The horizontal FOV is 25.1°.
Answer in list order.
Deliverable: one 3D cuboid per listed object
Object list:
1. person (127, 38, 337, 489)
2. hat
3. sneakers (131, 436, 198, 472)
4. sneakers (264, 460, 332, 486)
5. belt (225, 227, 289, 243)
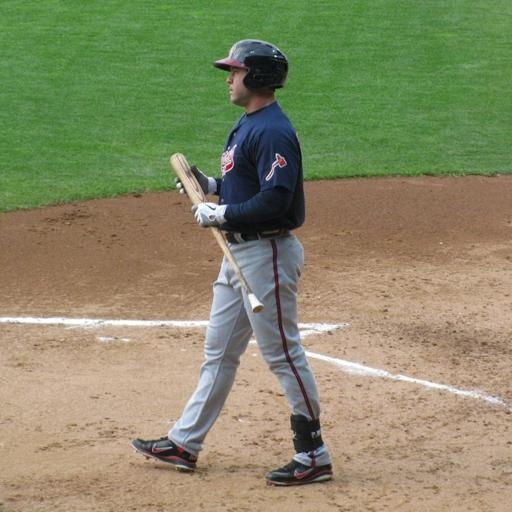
[{"bbox_3d":[-0.061,0.033,7.566,1.128,2.833,0.836,0,14,6],"label":"person"},{"bbox_3d":[-0.051,-1.283,7.650,0.544,0.284,0.357,1,12,-11],"label":"hat"},{"bbox_3d":[-0.613,1.263,7.703,0.477,0.200,0.167,15,19,25],"label":"sneakers"},{"bbox_3d":[0.285,1.422,7.597,0.460,0.176,0.153,1,-2,-9],"label":"sneakers"},{"bbox_3d":[-0.002,-0.128,7.520,0.424,0.112,0.108,0,13,6],"label":"belt"}]
